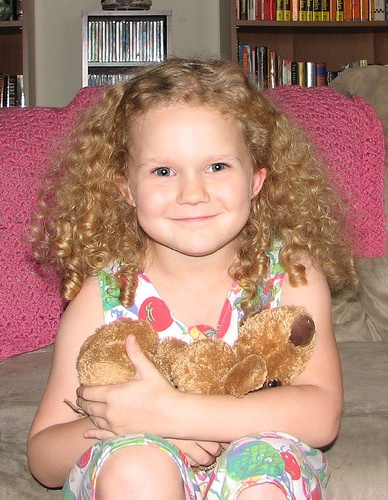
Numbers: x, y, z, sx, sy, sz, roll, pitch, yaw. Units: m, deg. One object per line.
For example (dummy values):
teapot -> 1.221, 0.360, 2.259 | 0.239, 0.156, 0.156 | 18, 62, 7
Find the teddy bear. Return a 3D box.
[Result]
teddy bear -> -0.002, 0.120, 0.693 | 0.283, 0.085, 0.134 | -2, -10, -7
